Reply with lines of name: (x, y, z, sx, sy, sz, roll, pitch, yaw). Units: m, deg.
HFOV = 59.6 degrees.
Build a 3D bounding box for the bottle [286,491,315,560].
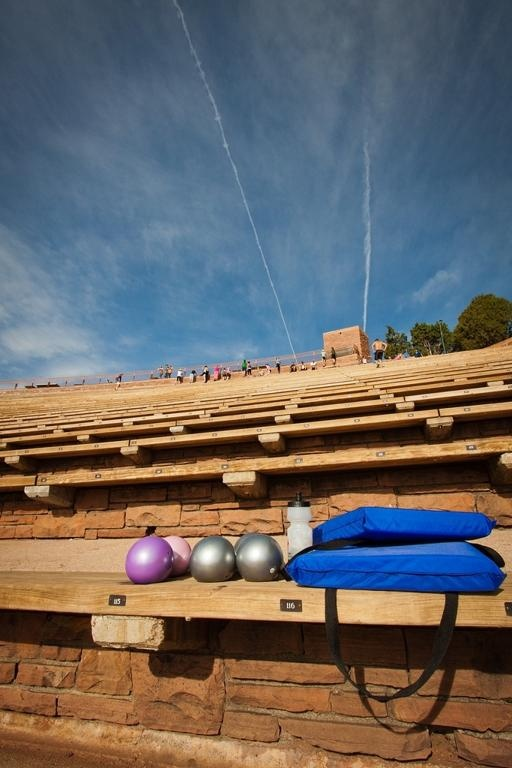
bottle: (0.292, 0.967, 3.078, 0.179, 0.424, 0.318, -5, -10, 3)
